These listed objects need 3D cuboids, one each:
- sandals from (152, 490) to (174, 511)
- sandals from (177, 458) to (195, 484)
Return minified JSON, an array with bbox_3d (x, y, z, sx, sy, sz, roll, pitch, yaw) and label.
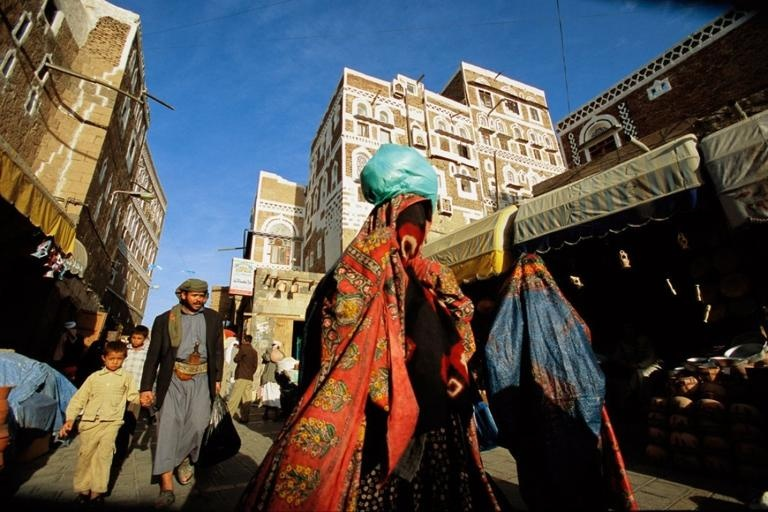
[{"bbox_3d":[-2.678,3.023,5.331,0.221,0.179,0.312,12,-22,-23],"label":"sandals"},{"bbox_3d":[-2.712,2.993,5.925,0.079,0.337,0.249,-6,0,40],"label":"sandals"}]
